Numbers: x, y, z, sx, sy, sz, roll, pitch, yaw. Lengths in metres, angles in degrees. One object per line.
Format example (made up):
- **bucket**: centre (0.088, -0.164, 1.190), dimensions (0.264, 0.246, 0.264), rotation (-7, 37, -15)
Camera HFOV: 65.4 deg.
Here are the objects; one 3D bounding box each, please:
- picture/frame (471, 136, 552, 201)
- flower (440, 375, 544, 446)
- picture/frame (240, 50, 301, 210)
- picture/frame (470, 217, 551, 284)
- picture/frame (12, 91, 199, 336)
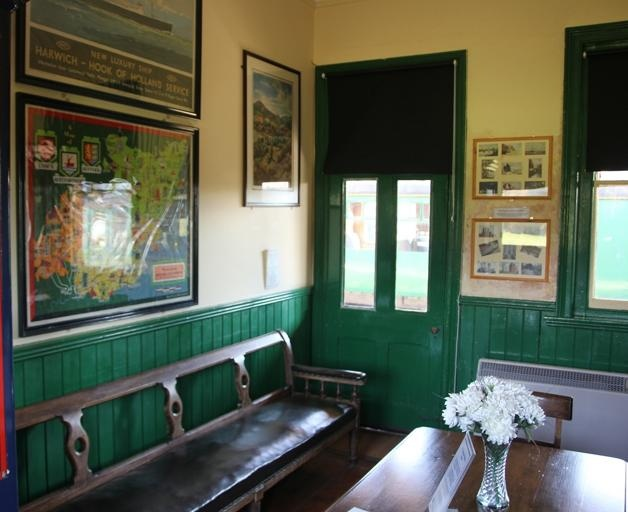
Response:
- **picture/frame**: centre (1.693, -0.739, 4.103), dimensions (0.480, 0.465, 0.021), rotation (3, 6, 27)
- **flower**: centre (0.800, 0.663, 2.148), dimensions (0.317, 0.316, 0.341), rotation (1, 13, 7)
- **picture/frame**: centre (-0.354, -1.055, 4.207), dimensions (0.035, 1.224, 0.830), rotation (2, 6, 32)
- **picture/frame**: centre (1.695, -0.059, 4.141), dimensions (0.487, 0.487, 0.037), rotation (3, 1, 26)
- **picture/frame**: centre (-1.258, -0.260, 2.869), dimensions (0.062, 1.613, 1.474), rotation (2, 4, 33)
